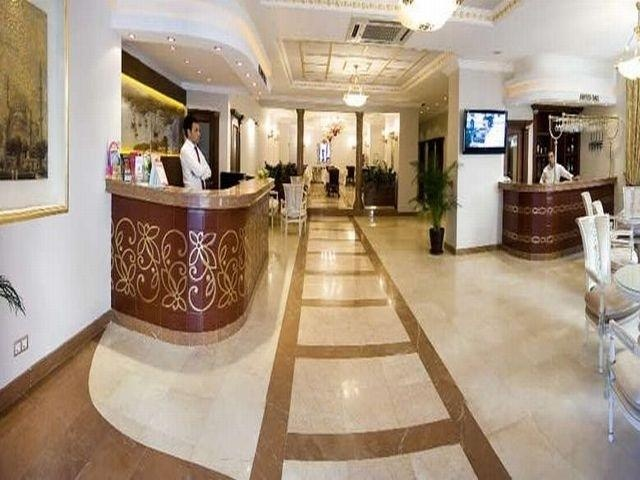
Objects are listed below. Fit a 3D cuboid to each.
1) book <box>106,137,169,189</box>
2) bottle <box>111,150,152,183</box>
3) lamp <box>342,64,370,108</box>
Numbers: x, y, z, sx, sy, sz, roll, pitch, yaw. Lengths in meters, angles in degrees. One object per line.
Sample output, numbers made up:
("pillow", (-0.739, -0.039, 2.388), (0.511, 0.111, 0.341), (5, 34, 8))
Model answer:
("book", (-2.106, -0.882, 5.292), (0.778, 0.467, 0.419), (7, 16, 19))
("bottle", (-2.207, -0.852, 5.355), (0.309, 0.366, 0.200), (6, 24, -2))
("lamp", (0.885, -3.759, 11.329), (0.670, 1.280, 0.766), (4, 9, 30))
